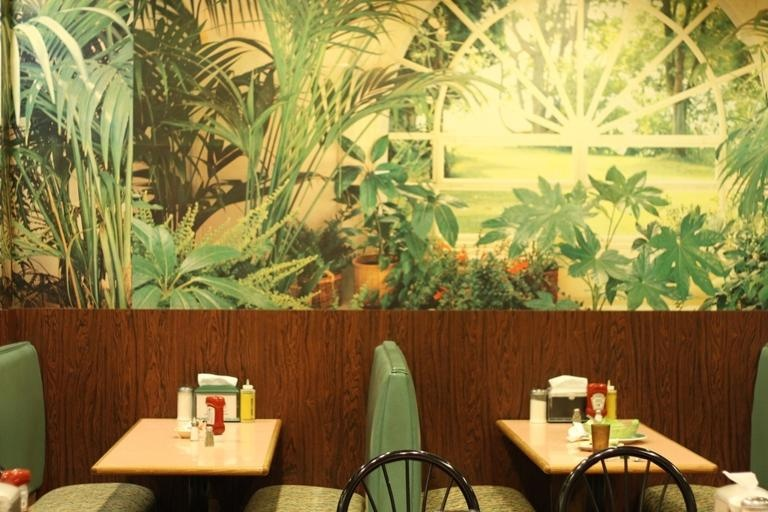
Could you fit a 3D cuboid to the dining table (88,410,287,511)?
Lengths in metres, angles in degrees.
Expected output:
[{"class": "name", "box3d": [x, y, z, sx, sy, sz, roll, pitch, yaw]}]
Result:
[{"class": "dining table", "box3d": [-1.045, 1.049, 3.675, 0.670, 0.456, 0.699, 1, 6, 8]}]

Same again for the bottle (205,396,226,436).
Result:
[{"class": "bottle", "box3d": [-0.987, 0.918, 3.826, 0.169, 0.208, 0.172, 4, -10, -25]}]

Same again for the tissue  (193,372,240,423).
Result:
[{"class": "tissue ", "box3d": [-1.029, 0.867, 4.144, 0.294, 0.294, 0.297, 1, -6, -4]}]

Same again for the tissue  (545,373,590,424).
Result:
[{"class": "tissue ", "box3d": [1.151, 0.884, 4.210, 0.252, 0.259, 0.198, -1, 14, 0]}]
